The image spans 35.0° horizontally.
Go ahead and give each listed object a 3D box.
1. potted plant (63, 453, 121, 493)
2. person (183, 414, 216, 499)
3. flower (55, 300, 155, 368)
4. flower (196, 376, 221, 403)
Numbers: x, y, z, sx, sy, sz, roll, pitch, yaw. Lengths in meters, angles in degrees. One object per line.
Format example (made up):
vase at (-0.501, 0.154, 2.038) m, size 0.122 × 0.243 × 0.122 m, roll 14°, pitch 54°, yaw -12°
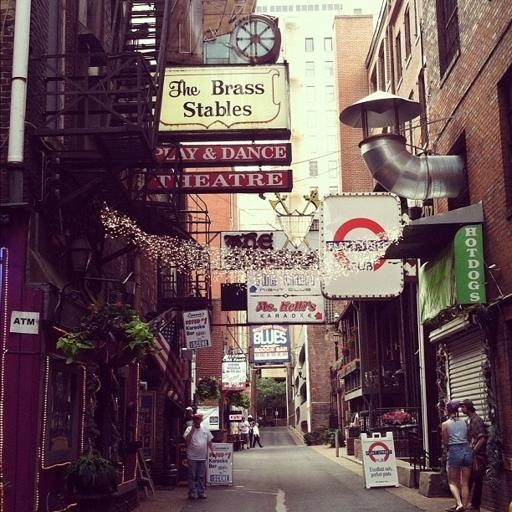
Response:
potted plant at (-2.317, 3.131, 11.602) m, size 0.481 × 0.431 × 0.539 m, roll -5°, pitch -11°, yaw 16°
person at (-1.193, 4.150, 16.872) m, size 0.553 × 1.707 × 1.205 m, roll 0°, pitch -12°, yaw -5°
flower at (-2.424, 1.277, 13.139) m, size 1.071 × 0.847 × 1.096 m, roll 2°, pitch -2°, yaw -24°
flower at (-2.241, 6.151, 37.015) m, size 1.090 × 1.317 × 1.007 m, roll 7°, pitch -18°, yaw -25°
